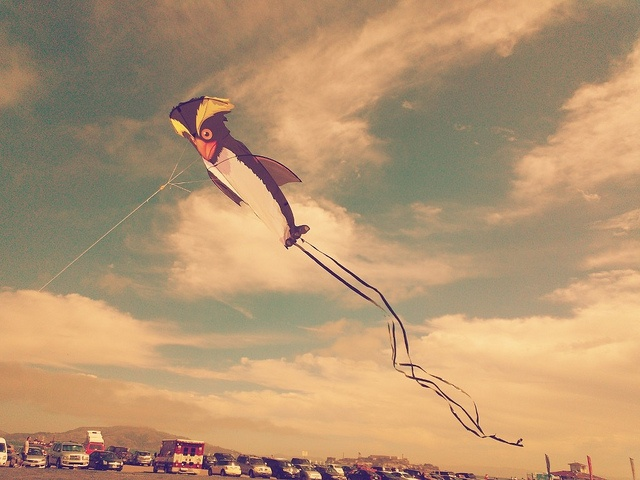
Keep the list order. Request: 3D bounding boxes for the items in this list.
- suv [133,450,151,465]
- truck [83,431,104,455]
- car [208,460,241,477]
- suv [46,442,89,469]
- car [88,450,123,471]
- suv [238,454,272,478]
[{"bbox_3d":[-23.980,29.568,90.971,1.445,1.357,2.557,9,-25,-22],"label":"suv"},{"bbox_3d":[-29.913,27.442,88.769,1.839,1.899,3.168,12,-62,-26],"label":"truck"},{"bbox_3d":[-12.134,29.527,86.699,3.207,1.658,2.121,-9,-28,32],"label":"car"},{"bbox_3d":[-31.088,26.636,82.990,5.469,3.235,1.905,-14,-34,29],"label":"suv"},{"bbox_3d":[-26.823,27.482,83.837,4.312,2.574,1.384,-3,-29,11],"label":"car"},{"bbox_3d":[-8.459,29.469,87.329,2.487,3.107,4.499,27,-37,-36],"label":"suv"}]
